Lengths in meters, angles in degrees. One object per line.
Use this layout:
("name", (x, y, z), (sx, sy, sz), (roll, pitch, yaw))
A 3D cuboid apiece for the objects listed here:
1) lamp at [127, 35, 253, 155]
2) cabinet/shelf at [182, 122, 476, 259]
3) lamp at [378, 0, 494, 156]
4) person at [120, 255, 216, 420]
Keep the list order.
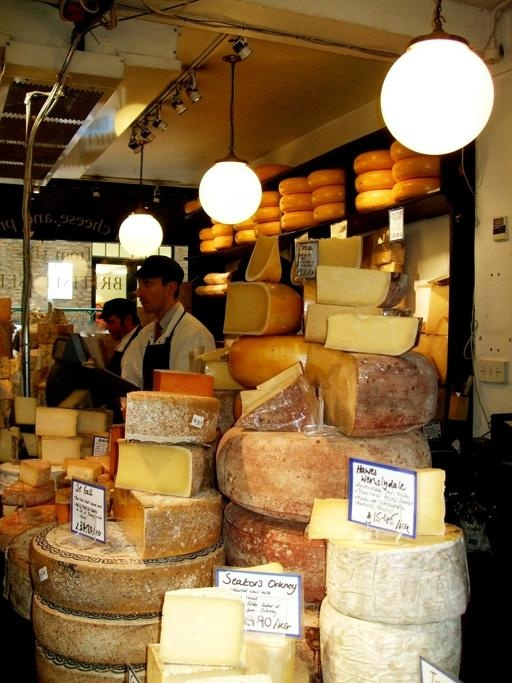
("lamp", (-0.337, -1.654, 3.658), (0.882, 0.124, 0.180), (-16, -57, 49))
("cabinet/shelf", (0.642, -0.853, 3.844), (0.245, 0.392, 1.748), (-3, 5, -29))
("lamp", (0.518, -0.839, 1.737), (0.293, 0.506, 0.286), (1, -1, 35))
("person", (-0.503, -0.043, 3.373), (0.510, 0.844, 0.679), (-3, 2, -44))
